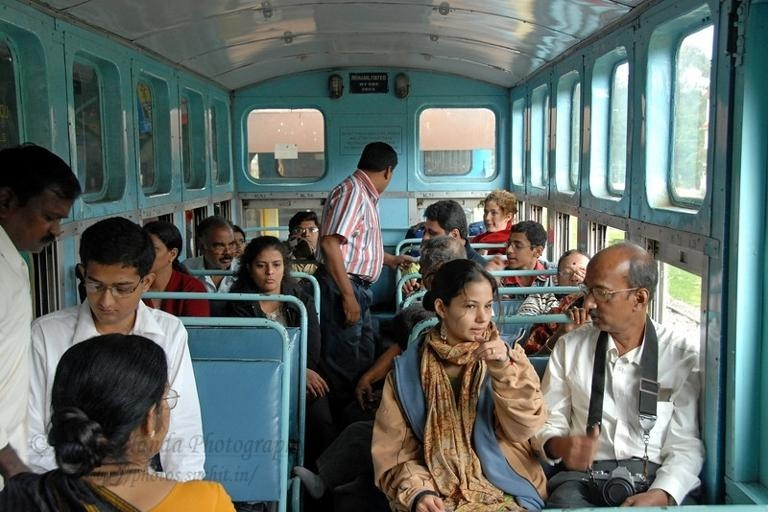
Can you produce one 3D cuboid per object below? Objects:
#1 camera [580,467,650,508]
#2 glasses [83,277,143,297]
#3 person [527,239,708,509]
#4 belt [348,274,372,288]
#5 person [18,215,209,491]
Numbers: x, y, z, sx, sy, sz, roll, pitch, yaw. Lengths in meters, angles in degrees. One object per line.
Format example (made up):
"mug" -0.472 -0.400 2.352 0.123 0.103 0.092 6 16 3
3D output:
"camera" 1.242 1.222 3.242 0.330 0.154 0.228 2 0 18
"glasses" -1.389 0.156 3.071 0.268 0.087 0.097 1 1 -16
"person" 1.338 0.636 3.340 0.948 1.076 0.616 2 1 12
"belt" -0.213 0.215 5.236 0.140 0.049 0.115 15 -3 0
"person" -1.339 0.679 3.065 0.922 1.557 0.932 3 8 -9
